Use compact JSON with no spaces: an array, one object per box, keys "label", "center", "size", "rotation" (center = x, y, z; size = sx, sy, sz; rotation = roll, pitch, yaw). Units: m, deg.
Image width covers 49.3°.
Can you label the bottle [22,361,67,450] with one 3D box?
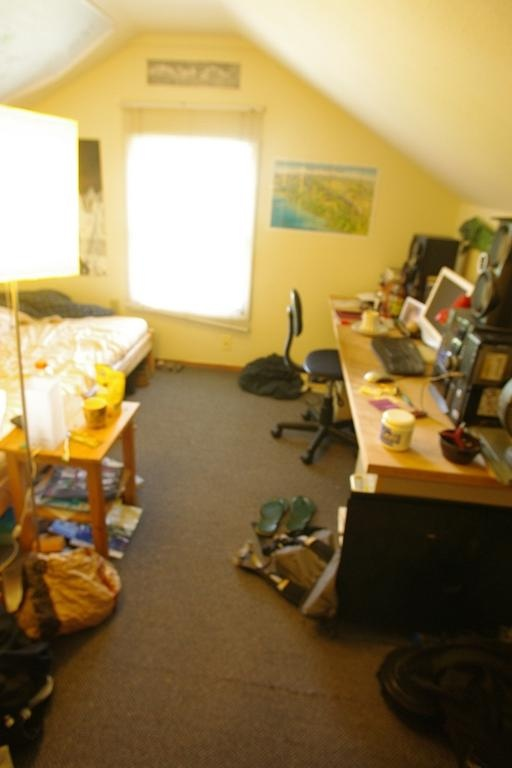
[{"label":"bottle","center":[-0.723,0.091,1.930],"size":[0.129,0.229,0.207],"rotation":[-2,19,-20]}]

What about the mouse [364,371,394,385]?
[{"label":"mouse","center":[0.463,-0.031,2.113],"size":[0.085,0.036,0.054],"rotation":[-2,26,-6]}]

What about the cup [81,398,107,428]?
[{"label":"cup","center":[-0.594,0.091,2.072],"size":[0.097,0.106,0.098],"rotation":[8,46,-8]}]

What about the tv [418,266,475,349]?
[{"label":"tv","center":[0.835,-0.362,2.562],"size":[0.116,0.363,0.357],"rotation":[15,30,3]}]

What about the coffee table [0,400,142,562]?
[{"label":"coffee table","center":[-0.588,0.369,2.164],"size":[0.456,0.574,0.590],"rotation":[2,35,0]}]

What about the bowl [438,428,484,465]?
[{"label":"bowl","center":[0.584,0.173,1.614],"size":[0.112,0.091,0.111],"rotation":[4,18,-1]}]

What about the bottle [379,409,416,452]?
[{"label":"bottle","center":[0.403,0.136,1.664],"size":[0.108,0.119,0.112],"rotation":[-7,35,-6]}]

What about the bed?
[{"label":"bed","center":[-0.773,0.129,2.390],"size":[0.632,0.391,0.985],"rotation":[-2,44,-6]}]
